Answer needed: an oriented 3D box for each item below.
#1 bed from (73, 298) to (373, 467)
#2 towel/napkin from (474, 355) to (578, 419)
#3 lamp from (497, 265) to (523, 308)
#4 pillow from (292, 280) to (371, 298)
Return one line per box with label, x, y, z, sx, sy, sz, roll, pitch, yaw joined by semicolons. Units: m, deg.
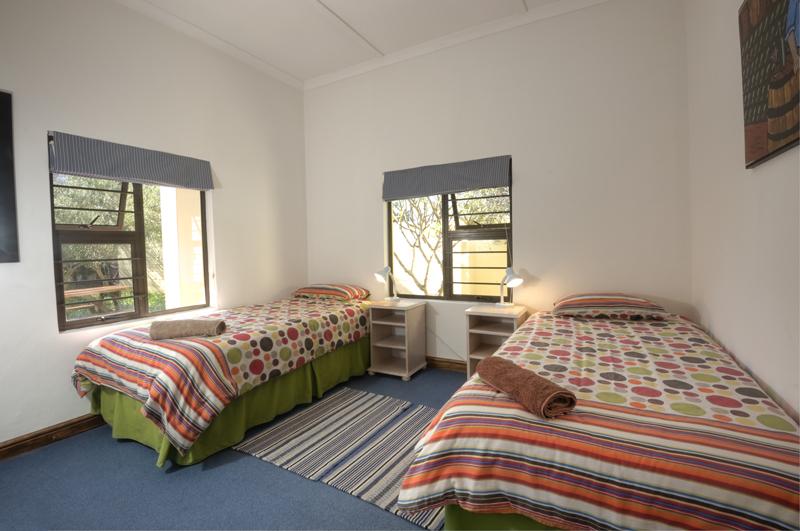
bed;-1.316;0.871;4.703;1.181;0.473;1.863;1;4;37
towel/napkin;0.802;0.803;3.433;0.288;0.158;0.494;-12;16;-29
lamp;1.145;0.210;5.234;0.250;0.387;0.516;-2;5;13
pillow;-0.775;0.327;6.094;0.781;0.200;0.494;0;5;33
